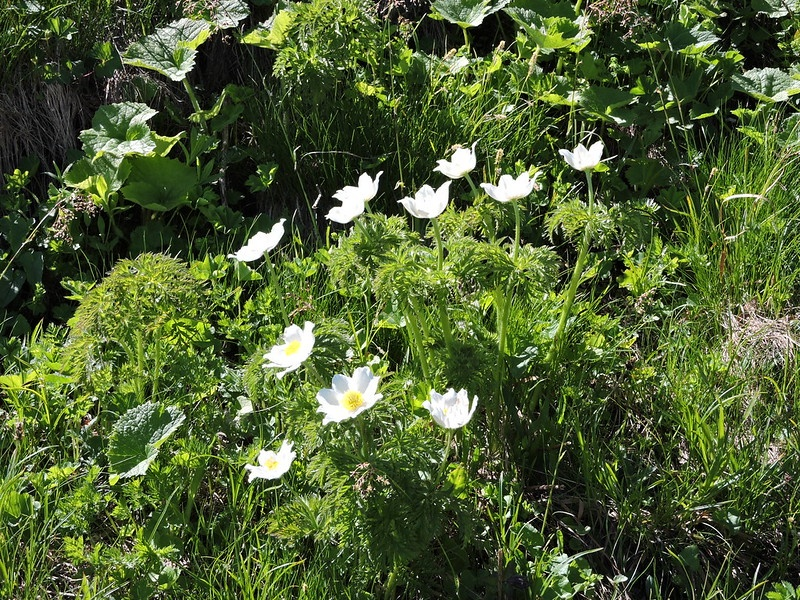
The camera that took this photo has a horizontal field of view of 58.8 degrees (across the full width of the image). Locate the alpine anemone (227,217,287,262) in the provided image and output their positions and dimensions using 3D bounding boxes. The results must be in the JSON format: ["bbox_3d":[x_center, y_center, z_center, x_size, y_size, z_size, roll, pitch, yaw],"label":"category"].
[{"bbox_3d":[-0.553,-0.199,2.781,0.182,0.175,0.277,-17,26,-16],"label":"alpine anemone"}]

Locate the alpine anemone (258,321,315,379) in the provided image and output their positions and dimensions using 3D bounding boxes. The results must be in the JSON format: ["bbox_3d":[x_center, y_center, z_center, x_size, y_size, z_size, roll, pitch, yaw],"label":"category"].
[{"bbox_3d":[-0.384,0.185,2.500,0.181,0.203,0.188,-13,24,-8],"label":"alpine anemone"}]

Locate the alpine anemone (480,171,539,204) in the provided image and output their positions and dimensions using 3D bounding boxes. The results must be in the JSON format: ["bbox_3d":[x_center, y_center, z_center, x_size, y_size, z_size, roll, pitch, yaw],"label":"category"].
[{"bbox_3d":[0.412,-0.415,2.726,0.169,0.082,0.170,-19,10,-41],"label":"alpine anemone"}]

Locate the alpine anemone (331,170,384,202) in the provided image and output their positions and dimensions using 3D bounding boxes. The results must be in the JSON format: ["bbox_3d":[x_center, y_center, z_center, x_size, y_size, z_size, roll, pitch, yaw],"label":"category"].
[{"bbox_3d":[-0.195,-0.525,3.327,0.185,0.084,0.218,-18,36,37],"label":"alpine anemone"}]
